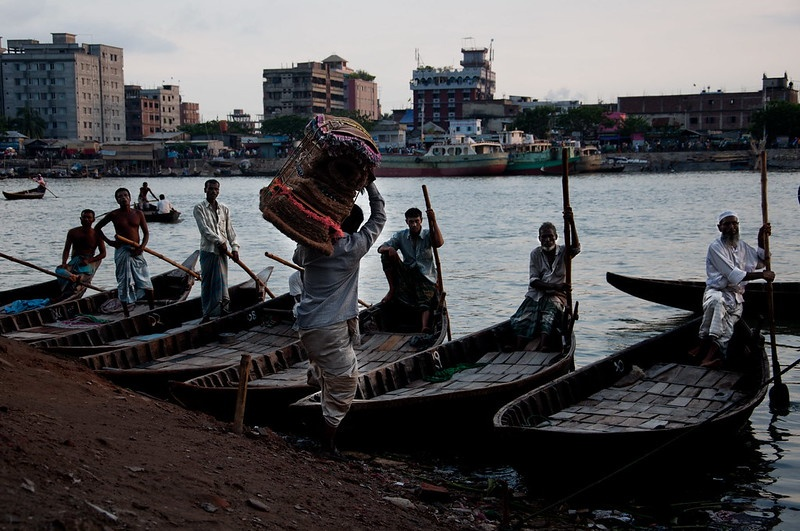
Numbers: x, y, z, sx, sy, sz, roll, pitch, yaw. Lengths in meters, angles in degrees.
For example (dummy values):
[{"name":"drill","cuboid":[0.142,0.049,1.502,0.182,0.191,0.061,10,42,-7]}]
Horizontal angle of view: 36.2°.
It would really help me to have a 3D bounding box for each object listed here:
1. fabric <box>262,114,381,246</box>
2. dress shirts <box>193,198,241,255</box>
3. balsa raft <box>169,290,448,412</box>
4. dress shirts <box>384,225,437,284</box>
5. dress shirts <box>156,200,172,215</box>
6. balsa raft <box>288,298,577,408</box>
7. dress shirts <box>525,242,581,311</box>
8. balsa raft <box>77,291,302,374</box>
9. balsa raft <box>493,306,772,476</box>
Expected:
[{"name":"fabric","cuboid":[-1.178,-1.192,17.859,1.716,1.994,0.663,-2,6,-5]},{"name":"dress shirts","cuboid":[-3.435,-0.748,22.843,0.504,0.970,0.845,3,7,38]},{"name":"balsa raft","cuboid":[-1.521,1.654,20.421,3.639,0.511,2.083,-12,14,-32]},{"name":"dress shirts","cuboid":[0.195,-0.174,21.856,1.153,1.006,0.608,-5,-14,0]},{"name":"dress shirts","cuboid":[-8.165,-1.967,42.466,0.533,0.575,0.616,0,20,-9]},{"name":"balsa raft","cuboid":[0.550,1.595,19.802,5.061,0.753,1.750,-15,22,-40]},{"name":"dress shirts","cuboid":[2.564,0.068,21.061,0.840,0.881,0.621,5,-22,-13]},{"name":"balsa raft","cuboid":[-3.354,1.362,21.182,1.245,0.810,5.296,8,11,31]},{"name":"balsa raft","cuboid":[3.899,2.014,19.200,4.846,1.898,2.235,-5,6,-40]}]
